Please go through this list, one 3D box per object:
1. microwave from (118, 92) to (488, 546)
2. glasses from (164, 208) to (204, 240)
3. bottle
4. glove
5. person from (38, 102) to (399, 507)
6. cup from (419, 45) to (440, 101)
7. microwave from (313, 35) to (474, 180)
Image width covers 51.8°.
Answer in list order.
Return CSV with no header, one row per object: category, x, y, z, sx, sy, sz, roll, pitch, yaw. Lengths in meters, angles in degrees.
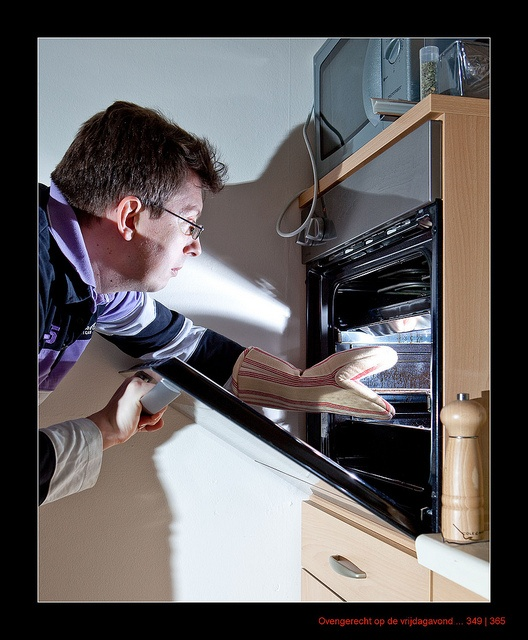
microwave,0.063,0.069,1.035,0.306,0.769,0.792,3,22,43
glasses,-0.197,-0.233,1.321,0.065,0.020,0.066,30,-8,6
bottle,0.288,0.216,0.776,0.068,0.207,0.039,1,-1,13
glove,0.108,0.143,1.289,0.258,0.112,0.210,2,-26,12
person,-0.034,-0.095,1.516,1.047,0.659,0.593,-2,-2,-18
cup,0.296,-0.459,0.984,0.036,0.096,0.027,1,-1,33
microwave,0.294,-0.536,1.259,0.209,0.274,0.381,-5,9,-22
